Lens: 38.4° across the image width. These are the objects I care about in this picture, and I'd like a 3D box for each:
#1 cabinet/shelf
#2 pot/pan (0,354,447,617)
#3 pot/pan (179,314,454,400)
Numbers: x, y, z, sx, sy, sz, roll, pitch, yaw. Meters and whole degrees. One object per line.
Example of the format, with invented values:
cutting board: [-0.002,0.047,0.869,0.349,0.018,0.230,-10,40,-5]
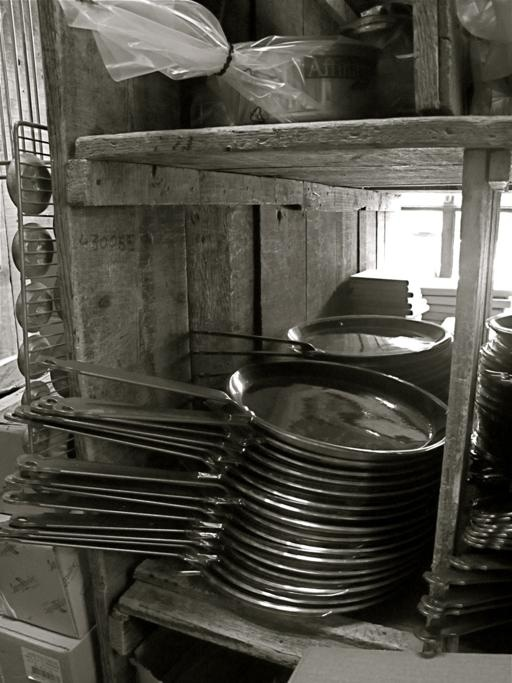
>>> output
cabinet/shelf: [0.037,-0.107,1.857,1.093,1.738,0.973,2,11,15]
pot/pan: [-0.011,0.215,1.152,0.663,0.238,0.392,7,7,-4]
pot/pan: [0.179,0.011,1.682,0.440,0.134,0.252,2,14,10]
